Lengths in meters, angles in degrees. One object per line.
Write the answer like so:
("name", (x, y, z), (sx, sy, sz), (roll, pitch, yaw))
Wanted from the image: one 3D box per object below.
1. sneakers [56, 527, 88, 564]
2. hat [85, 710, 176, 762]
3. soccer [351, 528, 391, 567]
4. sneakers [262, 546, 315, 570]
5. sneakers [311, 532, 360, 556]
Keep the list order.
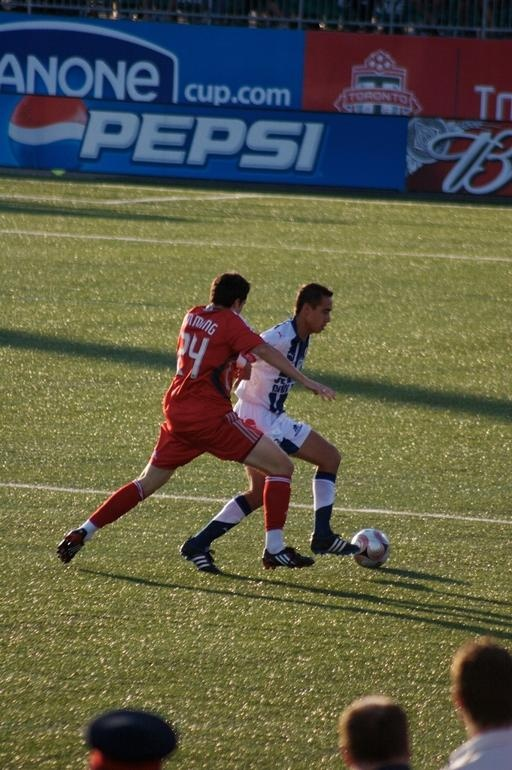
("sneakers", (-0.868, 0.762, 5.892), (0.118, 0.181, 0.057), (45, 9, 28))
("hat", (-0.289, 0.798, 2.837), (0.198, 0.122, 0.142), (0, 13, -8))
("soccer", (0.554, 0.812, 6.202), (0.192, 0.195, 0.186), (0, 17, 1))
("sneakers", (0.147, 0.842, 6.037), (0.270, 0.117, 0.103), (0, -3, -1))
("sneakers", (0.388, 0.797, 6.193), (0.296, 0.128, 0.092), (-1, 3, 5))
